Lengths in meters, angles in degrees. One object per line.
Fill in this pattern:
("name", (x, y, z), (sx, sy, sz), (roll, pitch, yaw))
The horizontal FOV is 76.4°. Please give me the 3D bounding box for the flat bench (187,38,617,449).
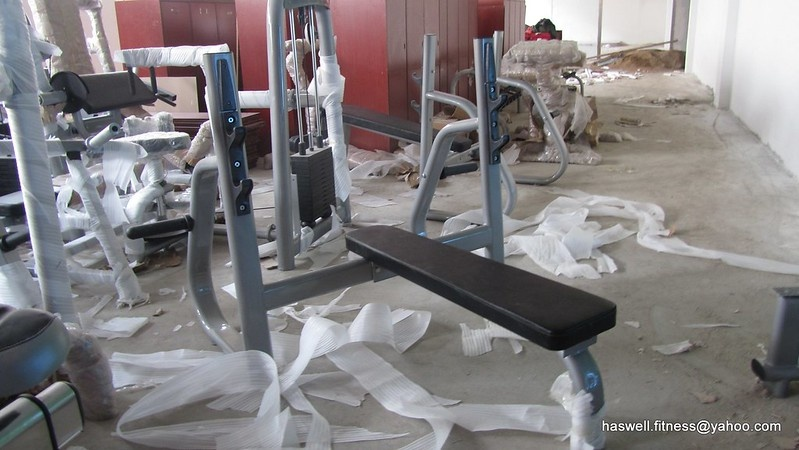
("flat bench", (0.028, -0.035, 3.105), (1.992, 1.861, 2.582), (-13, 19, -34))
